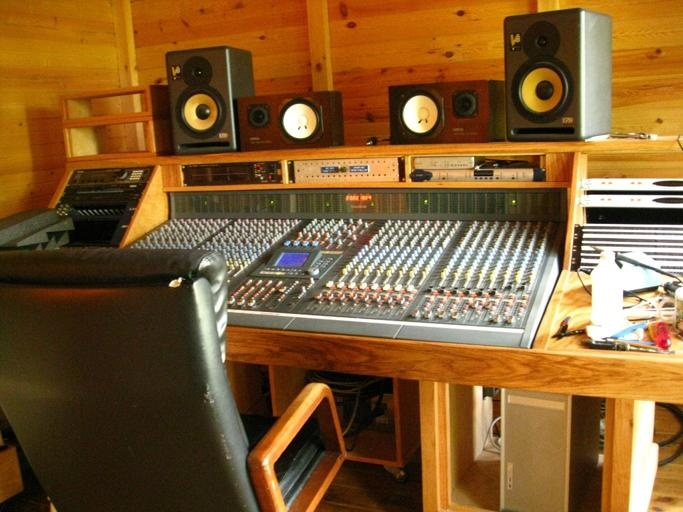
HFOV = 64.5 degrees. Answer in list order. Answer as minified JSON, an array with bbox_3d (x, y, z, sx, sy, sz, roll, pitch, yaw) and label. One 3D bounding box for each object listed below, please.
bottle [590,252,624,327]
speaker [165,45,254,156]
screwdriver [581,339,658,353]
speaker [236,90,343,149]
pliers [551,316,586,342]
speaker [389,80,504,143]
[{"bbox_3d":[0.844,0.102,1.703,0.106,0.222,0.131,6,12,18],"label":"bottle"},{"bbox_3d":[-0.543,-0.835,2.994,0.575,0.523,0.570,10,17,33],"label":"speaker"},{"bbox_3d":[0.811,0.261,1.566,0.202,0.031,0.027,4,11,20],"label":"screwdriver"},{"bbox_3d":[-0.213,-0.710,2.862,0.657,0.274,0.356,11,23,30],"label":"speaker"},{"bbox_3d":[0.704,0.227,1.674,0.085,0.019,0.071,4,34,31],"label":"pliers"},{"bbox_3d":[0.591,-0.699,2.639,0.362,0.274,0.629,-14,17,-34],"label":"speaker"}]
